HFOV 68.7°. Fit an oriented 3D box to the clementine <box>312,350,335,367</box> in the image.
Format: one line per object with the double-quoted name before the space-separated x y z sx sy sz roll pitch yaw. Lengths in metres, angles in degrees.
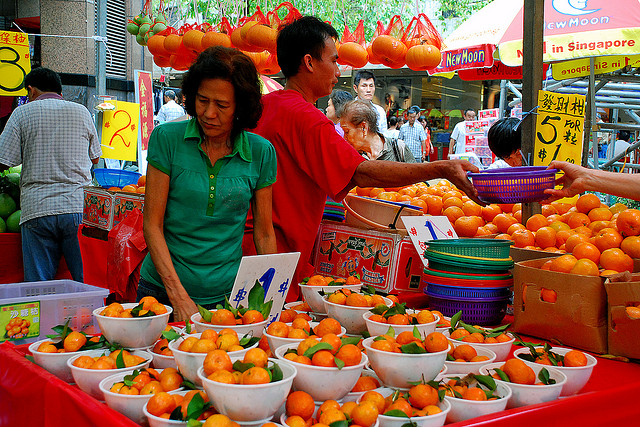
"clementine" 0.012 0.480 1.545 0.045 0.046 0.044 9 -9 -2

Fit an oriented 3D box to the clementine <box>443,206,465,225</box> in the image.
"clementine" 0.889 0.004 3.131 0.131 0.113 0.115 11 18 -2

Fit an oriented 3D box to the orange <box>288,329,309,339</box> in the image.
"orange" -0.084 0.453 1.759 0.054 0.038 0.039 -11 -23 11

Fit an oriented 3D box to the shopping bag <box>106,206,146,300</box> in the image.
"shopping bag" -1.568 0.314 3.756 0.230 0.693 0.500 5 1 -43

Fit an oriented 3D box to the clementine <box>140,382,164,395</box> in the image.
"clementine" -0.559 0.580 1.554 0.041 0.041 0.049 -42 -8 20

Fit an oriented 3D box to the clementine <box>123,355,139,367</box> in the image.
"clementine" -0.688 0.534 1.709 0.036 0.044 0.037 -2 6 5

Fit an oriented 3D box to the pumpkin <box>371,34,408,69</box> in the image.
"pumpkin" 0.708 -1.723 4.934 0.370 0.174 0.384 10 3 43

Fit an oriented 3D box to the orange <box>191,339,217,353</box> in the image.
"orange" -0.399 0.455 1.606 0.051 0.050 0.047 0 6 -10

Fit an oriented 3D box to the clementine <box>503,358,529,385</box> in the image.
"clementine" 0.696 0.558 1.653 0.058 0.061 0.077 10 42 -33

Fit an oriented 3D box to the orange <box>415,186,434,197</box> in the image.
"orange" 0.841 -0.181 3.803 0.096 0.068 0.121 3 9 20

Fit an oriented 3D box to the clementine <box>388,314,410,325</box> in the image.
"clementine" 0.305 0.404 1.850 0.048 0.049 0.046 23 18 19

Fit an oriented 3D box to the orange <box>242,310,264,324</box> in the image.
"orange" -0.266 0.410 1.847 0.052 0.053 0.051 -8 -34 -8

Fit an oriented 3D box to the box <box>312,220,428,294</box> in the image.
"box" 0.334 0.285 3.015 0.388 0.356 0.728 9 -1 -39

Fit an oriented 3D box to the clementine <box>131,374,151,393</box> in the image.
"clementine" -0.612 0.576 1.590 0.041 0.050 0.041 7 25 -13

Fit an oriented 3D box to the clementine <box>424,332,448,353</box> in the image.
"clementine" 0.400 0.446 1.625 0.062 0.061 0.064 18 -16 41

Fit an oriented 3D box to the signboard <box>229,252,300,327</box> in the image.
"signboard" -0.256 0.341 2.084 0.323 0.354 0.017 5 20 -46

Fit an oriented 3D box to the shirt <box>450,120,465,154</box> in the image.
"shirt" 3.141 -1.721 10.681 0.261 0.690 0.853 2 8 14

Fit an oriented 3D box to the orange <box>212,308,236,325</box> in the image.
"orange" -0.371 0.405 1.822 0.060 0.063 0.062 18 23 -25

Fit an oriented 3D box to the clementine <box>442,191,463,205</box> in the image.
"clementine" 0.972 -0.132 3.455 0.108 0.109 0.128 -21 11 -34

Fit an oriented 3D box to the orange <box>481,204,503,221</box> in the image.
"orange" 1.189 -0.009 3.276 0.118 0.116 0.118 -23 26 -22

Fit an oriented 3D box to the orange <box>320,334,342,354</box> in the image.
"orange" 0.037 0.457 1.647 0.050 0.061 0.051 1 7 18

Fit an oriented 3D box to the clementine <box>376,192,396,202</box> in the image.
"clementine" 0.484 -0.129 3.395 0.084 0.082 0.084 -4 8 -13

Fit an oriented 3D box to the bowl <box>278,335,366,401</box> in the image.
"bowl" 0.032 0.516 1.629 0.270 0.164 0.275 7 3 0

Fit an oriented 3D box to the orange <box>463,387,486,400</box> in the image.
"orange" 0.508 0.599 1.551 0.043 0.042 0.042 -2 -2 6

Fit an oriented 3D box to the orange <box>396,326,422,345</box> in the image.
"orange" 0.321 0.445 1.725 0.064 0.079 0.063 -5 13 -36

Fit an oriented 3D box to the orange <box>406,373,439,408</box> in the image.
"orange" 0.339 0.577 1.523 0.072 0.076 0.075 2 -1 13

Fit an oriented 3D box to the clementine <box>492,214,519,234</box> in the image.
"clementine" 1.203 0.060 3.070 0.123 0.116 0.123 -6 -22 33

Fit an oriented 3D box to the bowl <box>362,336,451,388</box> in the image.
"bowl" 0.313 0.547 1.721 0.341 0.137 0.338 0 -6 0

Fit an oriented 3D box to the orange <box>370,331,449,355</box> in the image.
"orange" 0.319 0.458 1.659 0.123 0.054 0.123 1 -4 -15

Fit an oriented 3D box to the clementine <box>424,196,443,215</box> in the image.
"clementine" 0.799 -0.055 3.292 0.115 0.138 0.116 -6 3 -24

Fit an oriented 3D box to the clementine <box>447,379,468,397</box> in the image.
"clementine" 0.464 0.588 1.589 0.042 0.042 0.042 10 5 -8

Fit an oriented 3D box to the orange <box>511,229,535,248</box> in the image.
"orange" 1.181 0.145 2.736 0.102 0.103 0.101 -27 26 -38

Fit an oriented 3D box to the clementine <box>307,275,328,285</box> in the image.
"clementine" -0.011 0.300 2.181 0.050 0.052 0.050 6 11 24

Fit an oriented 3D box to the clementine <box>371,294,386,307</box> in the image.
"clementine" 0.257 0.380 2.074 0.043 0.052 0.043 -27 -8 -1

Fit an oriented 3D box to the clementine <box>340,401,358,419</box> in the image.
"clementine" 0.087 0.610 1.462 0.035 0.043 0.036 4 10 10

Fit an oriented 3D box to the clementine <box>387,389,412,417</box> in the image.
"clementine" 0.253 0.599 1.484 0.056 0.080 0.057 8 -14 33

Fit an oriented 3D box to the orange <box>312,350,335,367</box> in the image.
"orange" 0.013 0.477 1.546 0.046 0.047 0.044 6 -10 -4

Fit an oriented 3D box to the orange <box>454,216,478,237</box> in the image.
"orange" 0.901 0.085 2.885 0.115 0.117 0.116 -6 -5 27

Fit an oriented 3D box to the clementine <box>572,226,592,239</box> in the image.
"clementine" 1.511 0.110 2.692 0.060 0.047 0.077 2 5 0

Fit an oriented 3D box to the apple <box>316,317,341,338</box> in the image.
"apple" 0.033 0.436 1.796 0.068 0.069 0.065 3 11 -13

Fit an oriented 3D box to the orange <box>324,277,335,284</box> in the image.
"orange" 0.047 0.334 2.361 0.041 0.033 0.032 20 20 23

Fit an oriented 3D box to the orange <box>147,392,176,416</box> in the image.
"orange" -0.497 0.600 1.475 0.069 0.065 0.070 -11 -32 -8
